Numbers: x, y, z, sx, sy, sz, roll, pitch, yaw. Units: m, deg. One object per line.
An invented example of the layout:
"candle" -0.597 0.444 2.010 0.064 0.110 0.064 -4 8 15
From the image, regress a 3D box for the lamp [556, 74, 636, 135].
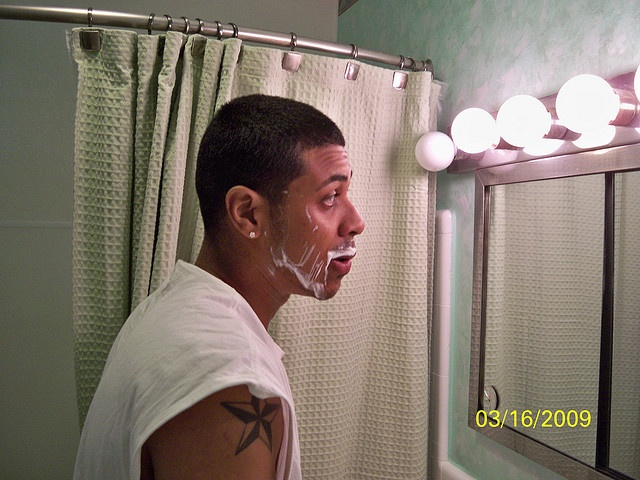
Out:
"lamp" 0.672 -0.305 1.352 0.171 0.098 0.100 1 -11 -42

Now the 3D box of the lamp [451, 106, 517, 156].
"lamp" 0.449 -0.327 1.560 0.152 0.129 0.115 21 28 31

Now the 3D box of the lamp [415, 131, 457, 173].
"lamp" 0.336 -0.259 1.641 0.110 0.117 0.107 0 -13 8
